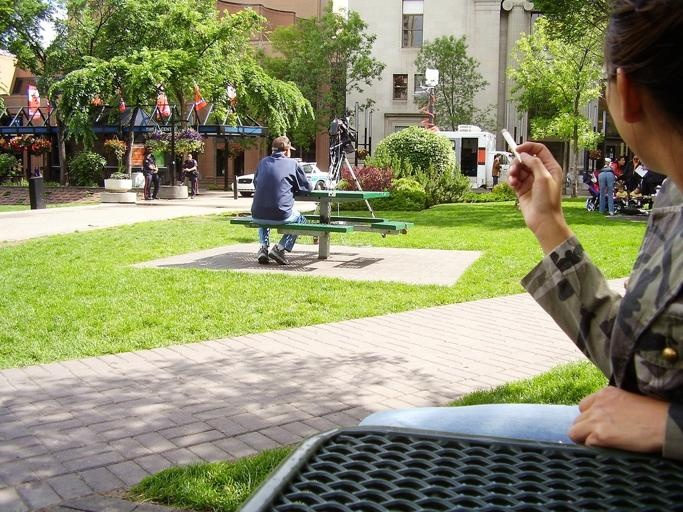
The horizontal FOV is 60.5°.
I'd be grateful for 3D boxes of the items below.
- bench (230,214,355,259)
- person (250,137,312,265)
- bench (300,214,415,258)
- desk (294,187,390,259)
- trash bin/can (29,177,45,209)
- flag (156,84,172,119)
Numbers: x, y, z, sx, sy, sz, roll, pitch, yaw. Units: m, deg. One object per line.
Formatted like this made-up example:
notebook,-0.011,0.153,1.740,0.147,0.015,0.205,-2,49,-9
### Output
bench,-0.735,-0.279,10.444,2.112,0.784,1.284,3,9,12
person,-1.127,-0.998,10.754,1.039,2.291,1.260,3,12,-8
bench,-0.063,-0.418,11.235,1.512,0.498,2.339,2,8,12
desk,-0.026,-0.872,10.965,2.080,1.346,1.165,1,2,16
trash bin/can,-11.715,-2.444,22.489,0.475,1.218,0.672,-5,10,-32
flag,-10.836,-9.229,35.444,0.788,1.910,4.227,-2,10,-16
